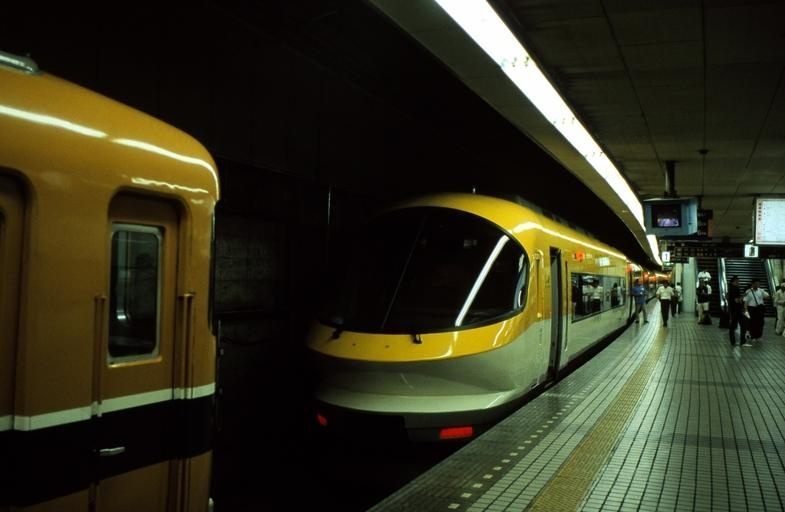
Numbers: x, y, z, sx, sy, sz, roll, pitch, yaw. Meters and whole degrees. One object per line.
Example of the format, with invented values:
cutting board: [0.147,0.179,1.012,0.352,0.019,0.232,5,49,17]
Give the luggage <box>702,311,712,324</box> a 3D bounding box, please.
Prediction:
luggage: [11.678,2.319,22.906,0.309,0.457,0.635,-3,-3,35]

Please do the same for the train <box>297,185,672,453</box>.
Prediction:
train: [1.364,0.666,9.196,5.184,3.144,1.901,-2,5,-43]
